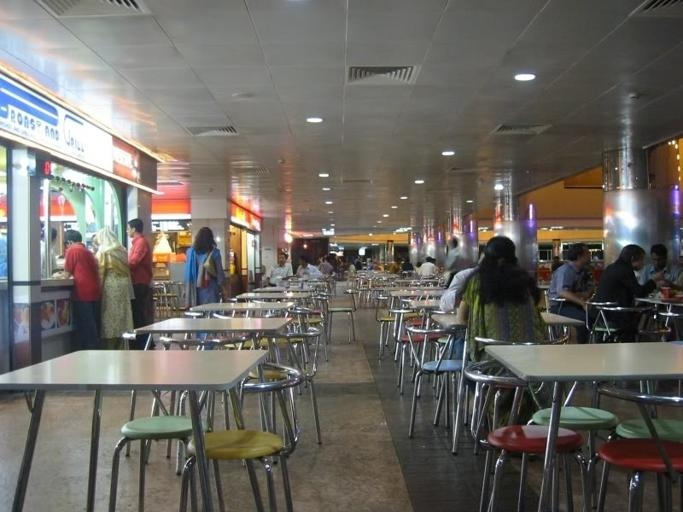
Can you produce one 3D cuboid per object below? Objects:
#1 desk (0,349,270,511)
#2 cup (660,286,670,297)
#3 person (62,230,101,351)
[{"bbox_3d":[-1.085,0.751,3.060,1.098,0.710,1.074,3,-3,3],"label":"desk"},{"bbox_3d":[3.950,0.437,7.043,0.126,0.136,0.123,-3,2,0],"label":"cup"},{"bbox_3d":[-3.278,0.417,7.385,0.426,1.525,0.440,0,-3,-26],"label":"person"}]
